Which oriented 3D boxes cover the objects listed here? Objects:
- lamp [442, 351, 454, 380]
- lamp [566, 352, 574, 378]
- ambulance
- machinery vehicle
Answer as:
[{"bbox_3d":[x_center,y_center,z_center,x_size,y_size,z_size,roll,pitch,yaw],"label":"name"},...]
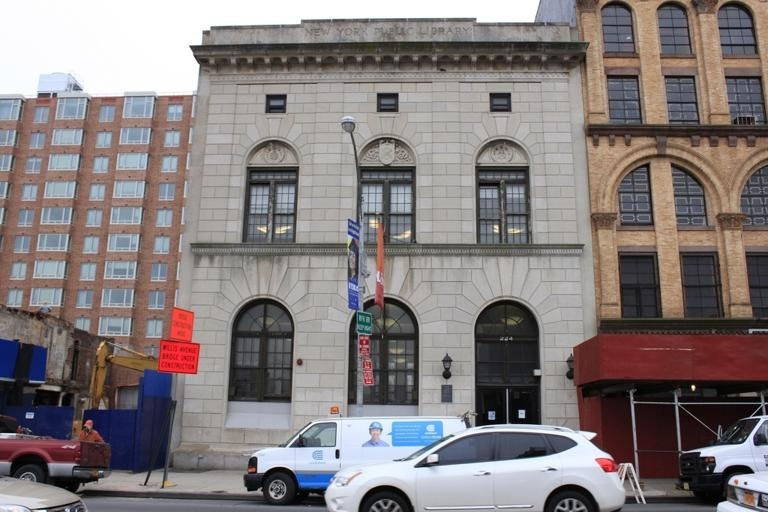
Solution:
[{"bbox_3d":[2.818,4.951,32.728,0.442,1.171,0.274,0,-17,2],"label":"lamp"},{"bbox_3d":[8.260,4.907,32.482,0.239,1.165,0.523,3,-17,-7],"label":"lamp"},{"bbox_3d":[-1.494,7.169,25.240,8.317,2.978,3.077,0,-9,1],"label":"ambulance"},{"bbox_3d":[-12.166,6.416,34.141,0.941,4.261,3.614,-4,-14,44],"label":"machinery vehicle"}]
